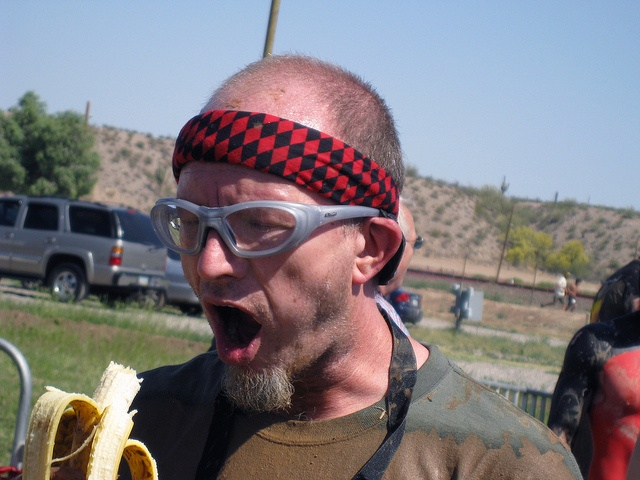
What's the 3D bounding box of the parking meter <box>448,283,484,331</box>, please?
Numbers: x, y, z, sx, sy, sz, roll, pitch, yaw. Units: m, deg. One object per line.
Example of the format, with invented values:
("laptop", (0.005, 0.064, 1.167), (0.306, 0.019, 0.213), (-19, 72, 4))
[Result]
("parking meter", (1.537, 0.814, 10.292), (0.299, 0.601, 0.312), (3, 9, -3))
